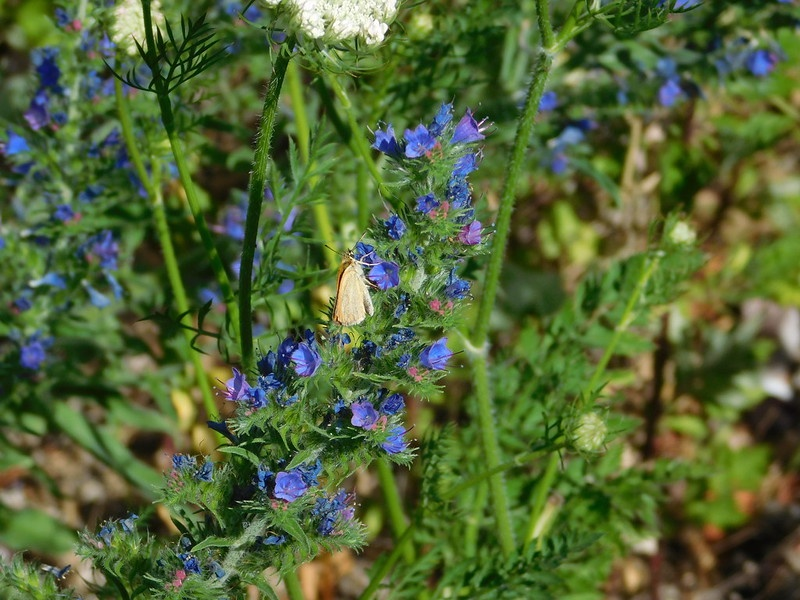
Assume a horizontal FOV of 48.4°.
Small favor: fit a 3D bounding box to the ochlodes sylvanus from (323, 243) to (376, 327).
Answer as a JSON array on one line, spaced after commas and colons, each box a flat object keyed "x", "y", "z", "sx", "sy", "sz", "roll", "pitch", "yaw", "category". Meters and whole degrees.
[{"x": -0.081, "y": -0.009, "z": 1.567, "sx": 0.073, "sy": 0.096, "sz": 0.169, "roll": -7, "pitch": 71, "yaw": 29, "category": "ochlodes sylvanus"}]
